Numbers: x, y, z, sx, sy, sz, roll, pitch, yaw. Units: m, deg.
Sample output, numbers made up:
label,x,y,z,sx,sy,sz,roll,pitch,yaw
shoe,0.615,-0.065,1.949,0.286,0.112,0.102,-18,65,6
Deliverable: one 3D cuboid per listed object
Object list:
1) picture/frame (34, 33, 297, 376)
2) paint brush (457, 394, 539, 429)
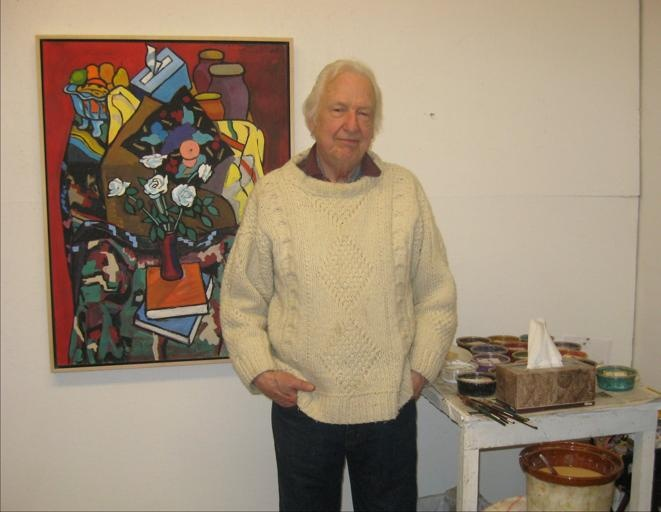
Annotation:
label,x,y,z,sx,sy,sz,roll,pitch,yaw
picture/frame,-0.731,-0.255,3.212,1.103,1.478,0.020,-1,0,-1
paint brush,0.617,0.596,2.701,0.126,0.088,0.285,-4,3,-40
